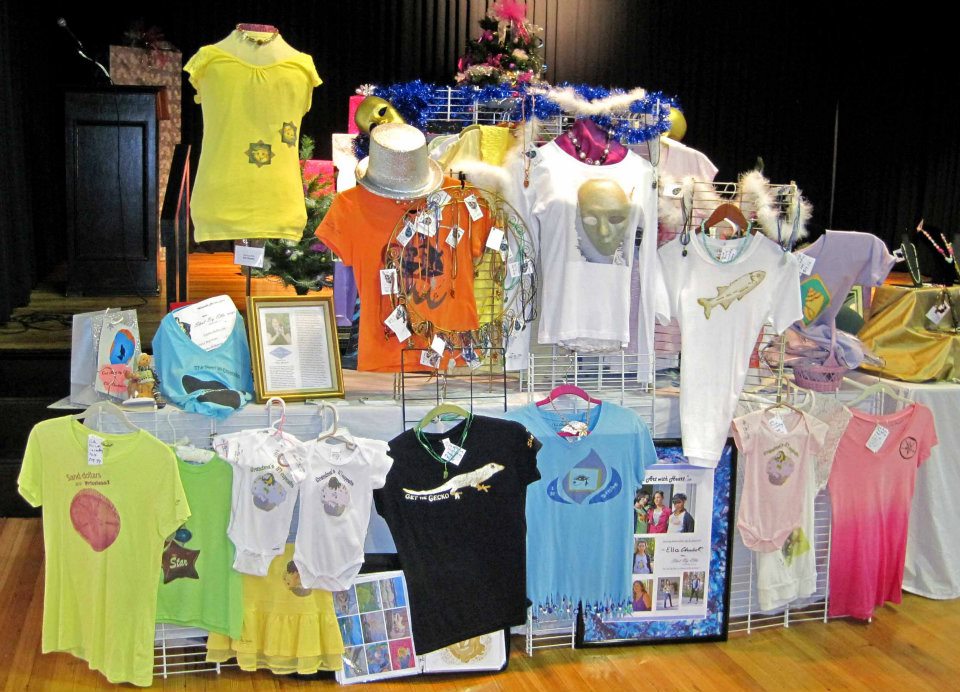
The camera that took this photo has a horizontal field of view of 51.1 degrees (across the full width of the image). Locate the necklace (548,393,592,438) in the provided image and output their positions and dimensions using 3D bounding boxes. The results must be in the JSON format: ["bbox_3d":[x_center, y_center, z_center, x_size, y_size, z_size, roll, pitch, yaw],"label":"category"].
[{"bbox_3d":[0.472,0.347,5.114,0.255,0.020,0.316,-1,50,9],"label":"necklace"}]

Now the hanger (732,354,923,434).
[{"bbox_3d":[1.971,0.279,5.705,0.776,0.326,0.465,-7,22,-12],"label":"hanger"}]

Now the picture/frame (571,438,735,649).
[{"bbox_3d":[0.877,1.039,5.294,1.068,1.495,0.052,-1,6,-3],"label":"picture/frame"}]

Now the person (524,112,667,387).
[{"bbox_3d":[0.623,-0.510,5.359,0.785,1.385,0.331,2,8,1],"label":"person"}]

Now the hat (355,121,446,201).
[{"bbox_3d":[-0.422,-0.990,5.235,0.454,0.244,0.498,9,36,-2],"label":"hat"}]

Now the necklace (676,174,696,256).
[{"bbox_3d":[1.134,-0.704,5.513,0.074,0.406,0.262,3,9,11],"label":"necklace"}]

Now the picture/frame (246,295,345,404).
[{"bbox_3d":[-0.977,0.031,5.258,0.484,0.624,0.045,-6,-9,-17],"label":"picture/frame"}]

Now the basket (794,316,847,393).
[{"bbox_3d":[1.929,0.053,5.708,0.319,0.526,0.379,-2,0,18],"label":"basket"}]

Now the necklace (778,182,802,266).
[{"bbox_3d":[1.736,-0.756,5.586,0.104,0.390,0.110,-27,48,-15],"label":"necklace"}]

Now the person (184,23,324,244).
[{"bbox_3d":[-1.211,-1.141,5.400,0.692,1.139,0.313,-1,9,-17],"label":"person"}]
